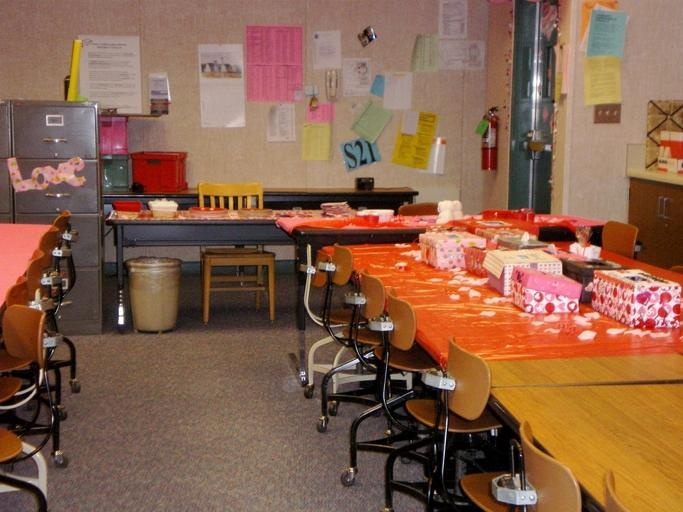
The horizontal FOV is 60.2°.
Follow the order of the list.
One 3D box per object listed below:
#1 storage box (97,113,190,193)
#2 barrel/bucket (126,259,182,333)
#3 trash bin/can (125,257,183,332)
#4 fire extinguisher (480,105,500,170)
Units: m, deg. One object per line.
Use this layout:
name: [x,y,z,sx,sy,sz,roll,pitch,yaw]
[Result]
storage box: [-2.153,-1.099,6.270,1.048,0.968,0.629,0,13,-6]
barrel/bucket: [-1.354,0.312,4.825,0.553,0.626,0.540,0,3,0]
trash bin/can: [-1.461,0.304,4.857,0.551,0.627,0.540,1,4,0]
fire extinguisher: [1.699,-1.340,6.740,0.139,0.740,0.289,-1,12,-8]
